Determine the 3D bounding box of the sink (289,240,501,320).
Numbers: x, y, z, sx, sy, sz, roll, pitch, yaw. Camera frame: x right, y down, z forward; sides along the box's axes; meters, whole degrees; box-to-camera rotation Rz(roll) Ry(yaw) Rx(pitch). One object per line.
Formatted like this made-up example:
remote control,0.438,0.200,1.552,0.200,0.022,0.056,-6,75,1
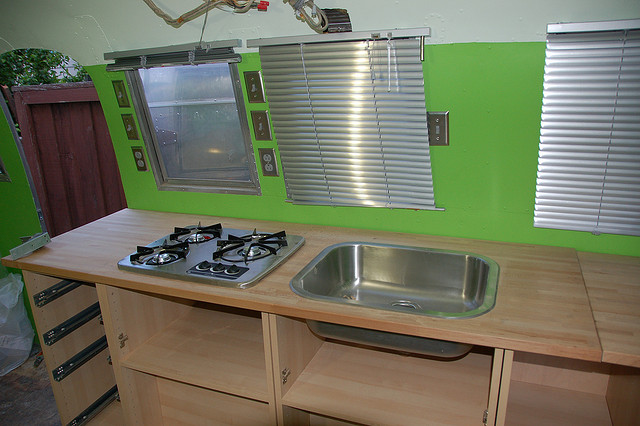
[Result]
sink,0.376,0.378,2.100,0.930,0.308,0.603,2,18,20

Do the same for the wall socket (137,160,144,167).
wall socket,-1.220,-0.335,2.918,0.051,0.035,0.009,4,22,26

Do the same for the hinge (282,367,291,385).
hinge,-0.162,0.772,2.026,0.024,0.064,0.044,-7,-33,39

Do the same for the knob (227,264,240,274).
knob,-0.429,0.277,2.118,0.058,0.027,0.051,-1,17,11

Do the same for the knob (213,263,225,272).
knob,-0.506,0.270,2.147,0.039,0.009,0.041,-20,34,-37

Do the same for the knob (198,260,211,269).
knob,-0.583,0.262,2.170,0.056,0.025,0.053,-8,17,-11
